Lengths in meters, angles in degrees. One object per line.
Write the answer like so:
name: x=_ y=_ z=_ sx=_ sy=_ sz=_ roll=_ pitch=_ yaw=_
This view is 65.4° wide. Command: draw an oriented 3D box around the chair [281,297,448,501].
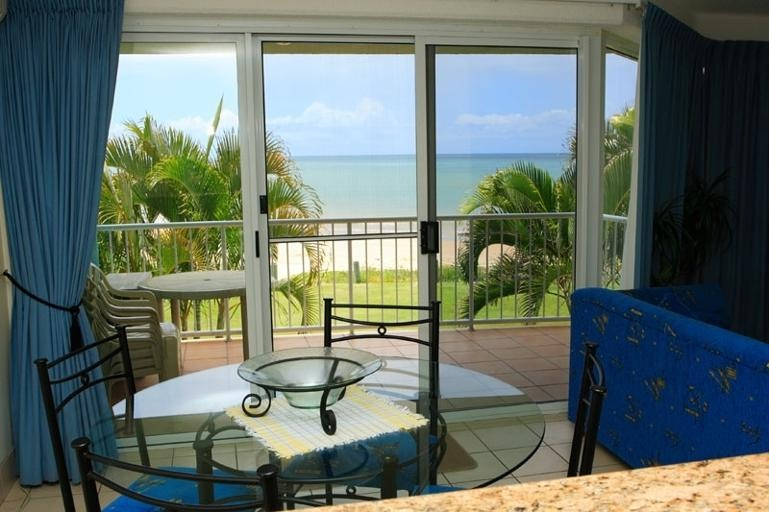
chair: x=-0.006 y=0.643 z=3.244 sx=0.828 sy=1.199 sz=0.771 roll=-8 pitch=20 yaw=-24
